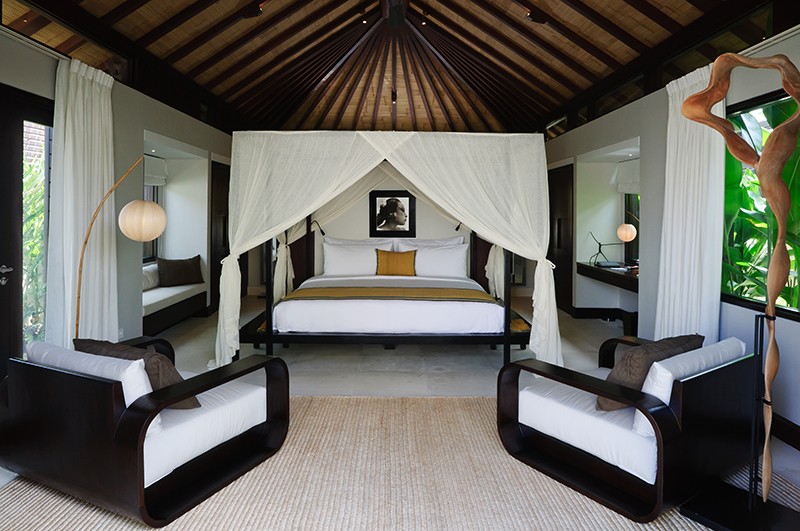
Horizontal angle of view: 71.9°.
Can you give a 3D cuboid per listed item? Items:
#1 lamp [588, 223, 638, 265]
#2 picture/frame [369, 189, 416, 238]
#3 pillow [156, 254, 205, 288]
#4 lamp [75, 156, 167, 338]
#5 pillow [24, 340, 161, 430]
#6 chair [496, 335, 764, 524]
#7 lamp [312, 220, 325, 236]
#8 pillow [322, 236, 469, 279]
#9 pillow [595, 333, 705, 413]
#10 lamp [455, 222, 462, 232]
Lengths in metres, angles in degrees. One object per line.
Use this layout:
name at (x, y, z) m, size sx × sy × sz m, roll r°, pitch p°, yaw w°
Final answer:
lamp at (2.909, -0.288, 7.364) m, size 0.590 × 0.574 × 0.685 m, roll 2°, pitch 6°, yaw 3°
picture/frame at (-0.104, -0.818, 8.248) m, size 0.687 × 0.732 × 0.053 m, roll 0°, pitch 0°, yaw -2°
pillow at (-3.028, 0.081, 7.550) m, size 0.391 × 0.285 × 0.138 m, roll -8°, pitch -22°, yaw -34°
lamp at (-2.750, -0.224, 5.328) m, size 0.758 × 1.765 × 0.951 m, roll -2°, pitch 7°, yaw -31°
pillow at (-2.164, 0.739, 3.841) m, size 0.950 × 0.319 × 0.236 m, roll 4°, pitch 6°, yaw 19°
chair at (1.611, 1.132, 4.042) m, size 1.320 × 0.965 × 1.365 m, roll -3°, pitch 6°, yaw -33°
lamp at (-1.170, -0.539, 7.860) m, size 0.047 × 0.164 × 0.150 m, roll -4°, pitch -12°, yaw -40°
pillow at (-0.092, -0.135, 7.328) m, size 1.916 × 0.510 × 0.953 m, roll 2°, pitch 6°, yaw 1°
pillow at (1.796, 0.781, 3.936) m, size 0.448 × 0.332 × 0.167 m, roll -7°, pitch 26°, yaw -31°
lamp at (0.853, -0.575, 8.126) m, size 0.102 × 0.119 × 0.079 m, roll 4°, pitch 6°, yaw 26°
